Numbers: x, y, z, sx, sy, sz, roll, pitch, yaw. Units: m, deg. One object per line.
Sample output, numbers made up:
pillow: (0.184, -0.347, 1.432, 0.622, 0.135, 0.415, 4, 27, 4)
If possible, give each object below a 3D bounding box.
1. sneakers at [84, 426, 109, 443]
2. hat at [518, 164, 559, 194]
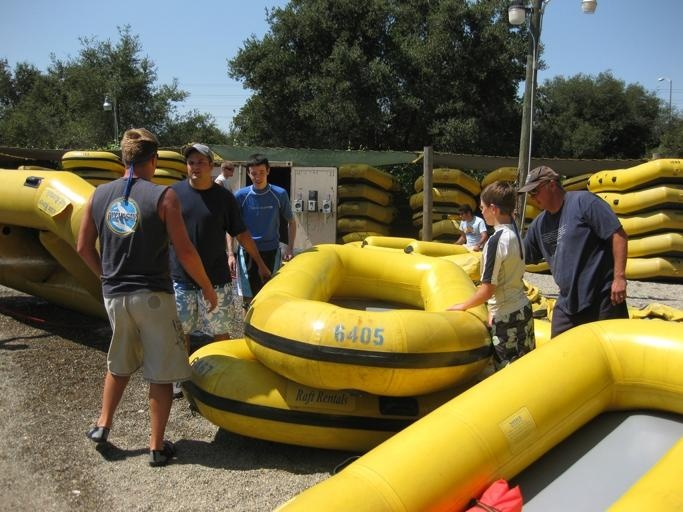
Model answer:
sneakers: (-1.965, 1.413, 5.431, 0.254, 0.126, 0.092, 9, 9, 41)
hat: (1.737, -0.687, 5.925, 0.320, 0.176, 0.214, -17, 8, -5)
